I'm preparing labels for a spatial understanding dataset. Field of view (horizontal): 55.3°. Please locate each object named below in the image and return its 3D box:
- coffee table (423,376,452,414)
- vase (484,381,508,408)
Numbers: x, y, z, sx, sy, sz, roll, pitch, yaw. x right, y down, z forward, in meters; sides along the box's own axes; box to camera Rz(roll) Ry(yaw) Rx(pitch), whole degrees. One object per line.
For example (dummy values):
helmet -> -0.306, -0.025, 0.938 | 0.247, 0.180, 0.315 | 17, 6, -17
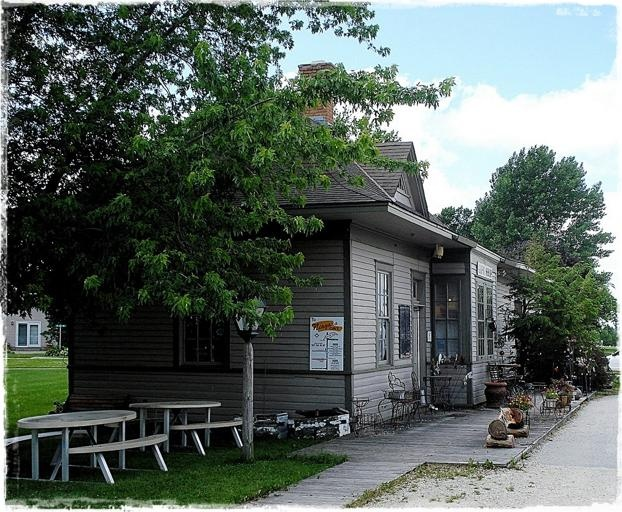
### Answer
coffee table -> 3.500, 3.686, 16.722 | 0.801, 0.839, 0.853 | 1, -14, 25
vase -> 5.167, 3.886, 16.671 | 0.642, 0.684, 0.640 | -1, -10, 10
